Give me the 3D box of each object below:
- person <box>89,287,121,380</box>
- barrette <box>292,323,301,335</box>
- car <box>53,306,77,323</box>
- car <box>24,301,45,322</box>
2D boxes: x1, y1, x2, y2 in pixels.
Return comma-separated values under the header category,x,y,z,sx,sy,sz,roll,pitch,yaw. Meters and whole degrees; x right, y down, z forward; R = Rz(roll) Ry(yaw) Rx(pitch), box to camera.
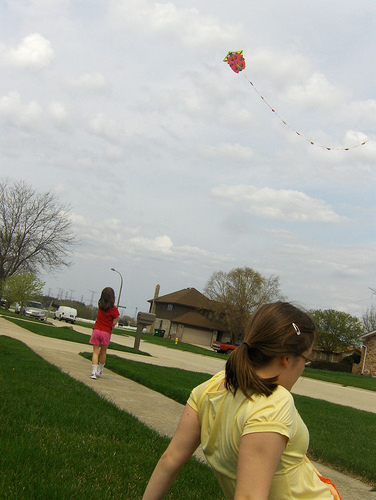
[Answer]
category,x,y,z,sx,sy,sz,roll,pitch,yaw
person,-2.144,2.088,8.157,0.595,2.043,0.981,11,-6,-14
barrette,0.364,0.257,1.067,0.007,0.032,0.023,-33,-8,14
car,-18.307,9.176,48.035,2.287,2.207,3.925,7,-2,-26
car,-18.967,7.427,39.680,1.995,2.227,5.035,14,-6,-29
